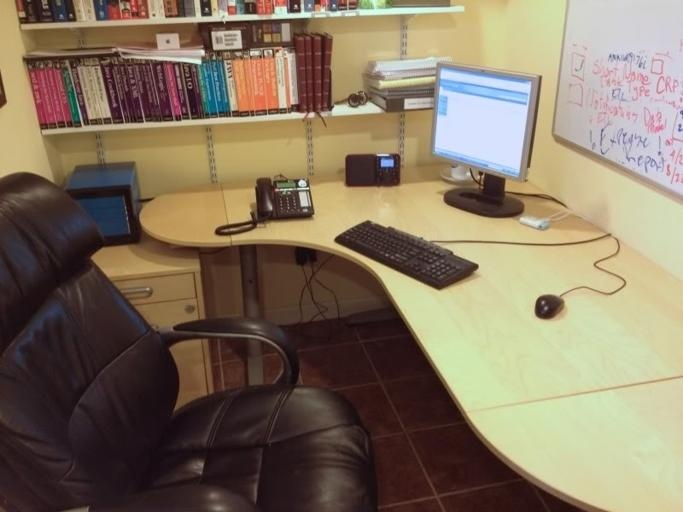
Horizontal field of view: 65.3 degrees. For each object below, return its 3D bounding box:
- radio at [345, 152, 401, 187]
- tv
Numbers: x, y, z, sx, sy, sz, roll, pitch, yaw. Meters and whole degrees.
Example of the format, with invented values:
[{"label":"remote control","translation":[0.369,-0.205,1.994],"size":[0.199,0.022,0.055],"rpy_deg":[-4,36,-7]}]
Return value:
[{"label":"radio","translation":[0.164,-0.426,2.653],"size":[0.244,0.166,0.059],"rpy_deg":[0,9,5]},{"label":"tv","translation":[0.660,-0.523,2.415],"size":[0.321,0.625,0.527],"rpy_deg":[-25,37,-33]}]
